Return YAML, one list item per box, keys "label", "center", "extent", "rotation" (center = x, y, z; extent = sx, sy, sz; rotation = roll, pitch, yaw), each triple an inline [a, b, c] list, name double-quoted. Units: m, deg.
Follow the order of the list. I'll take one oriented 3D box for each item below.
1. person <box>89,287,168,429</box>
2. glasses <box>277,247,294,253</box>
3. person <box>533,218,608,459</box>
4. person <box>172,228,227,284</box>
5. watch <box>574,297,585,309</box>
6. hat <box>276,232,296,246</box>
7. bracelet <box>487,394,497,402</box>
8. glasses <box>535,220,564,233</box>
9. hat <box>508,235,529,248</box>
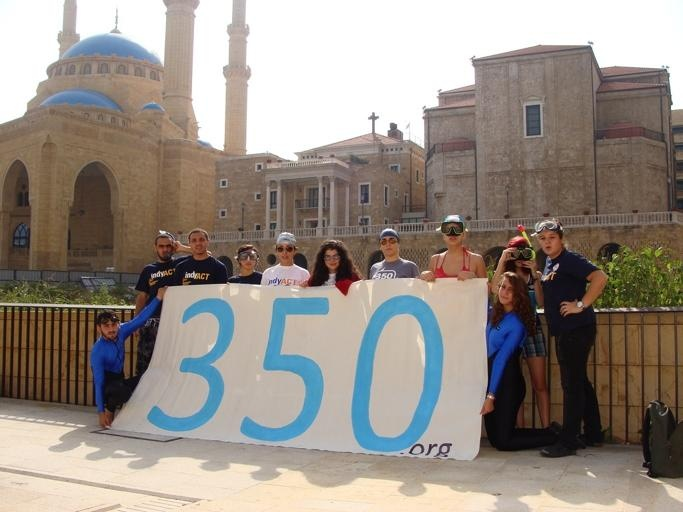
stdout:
- label: "person"
  center: [-3.239, 1.619, 12.626]
  extent: [0.909, 1.848, 1.303]
  rotation: [-14, 8, 33]
- label: "glasses"
  center: [-0.873, -0.109, 12.558]
  extent: [0.285, 0.111, 0.135]
  rotation: [-2, 11, -3]
- label: "person"
  center: [3.045, 1.078, 10.995]
  extent: [0.863, 3.015, 1.157]
  rotation: [-1, 11, 3]
- label: "person"
  center: [-2.245, -0.016, 12.897]
  extent: [0.869, 0.876, 0.694]
  rotation: [-2, 11, -4]
- label: "watch"
  center: [3.102, 0.623, 10.845]
  extent: [0.070, 0.127, 0.116]
  rotation: [0, -4, 26]
- label: "hat"
  center: [-0.853, -0.298, 12.645]
  extent: [0.226, 0.179, 0.316]
  rotation: [1, -9, 1]
- label: "bracelet"
  center: [1.968, 1.865, 10.949]
  extent: [0.093, 0.070, 0.091]
  rotation: [8, -9, -13]
- label: "glasses"
  center: [2.814, -0.411, 11.193]
  extent: [0.210, 0.108, 0.268]
  rotation: [-6, -36, 32]
- label: "hat"
  center: [2.454, -0.179, 11.576]
  extent: [0.223, 0.140, 0.160]
  rotation: [-11, 8, -15]
